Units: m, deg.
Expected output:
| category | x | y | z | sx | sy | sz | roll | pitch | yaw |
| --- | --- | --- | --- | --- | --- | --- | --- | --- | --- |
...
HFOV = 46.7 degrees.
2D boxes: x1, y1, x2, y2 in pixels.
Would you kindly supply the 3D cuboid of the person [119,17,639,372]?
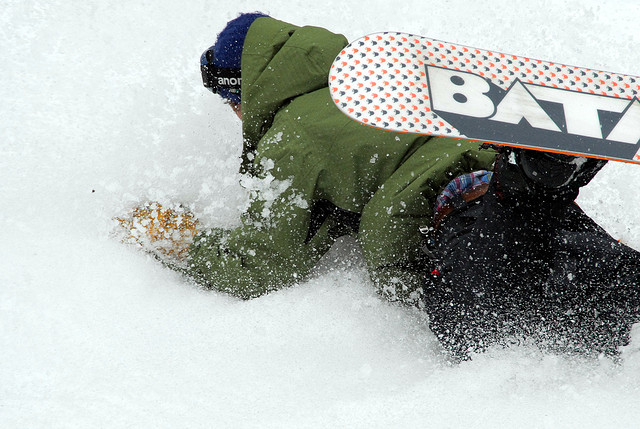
| category | x | y | z | sx | sy | sz | roll | pitch | yaw |
| --- | --- | --- | --- | --- | --- | --- | --- | --- | --- |
| person | 0.331 | -0.035 | 4.370 | 2.898 | 1.174 | 1.561 | 14 | 53 | 29 |
